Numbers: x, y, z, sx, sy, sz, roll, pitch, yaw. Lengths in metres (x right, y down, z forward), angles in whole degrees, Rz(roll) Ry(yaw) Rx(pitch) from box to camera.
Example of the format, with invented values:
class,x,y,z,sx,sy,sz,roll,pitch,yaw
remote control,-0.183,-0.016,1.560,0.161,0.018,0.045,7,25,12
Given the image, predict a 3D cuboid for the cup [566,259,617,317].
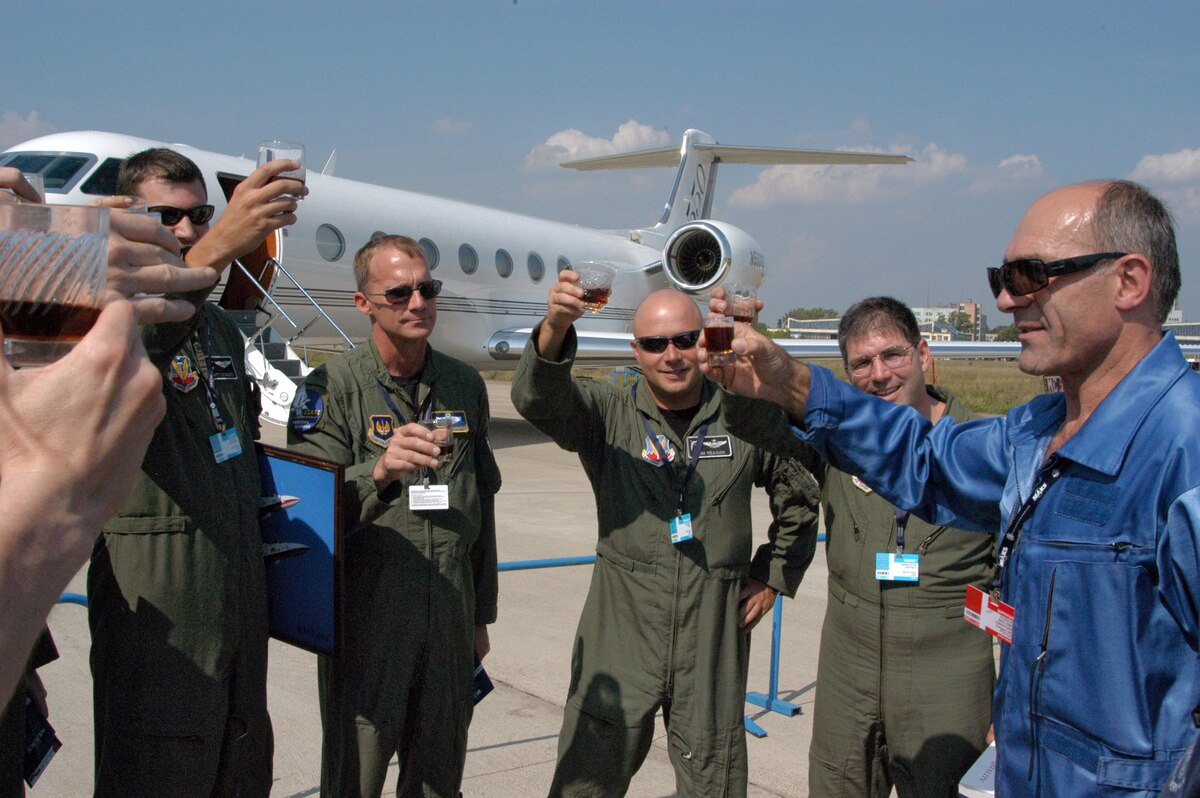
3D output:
class,x,y,z,sx,sy,sz,roll,pitch,yaw
cup,-0.024,-0.483,4.443,0.195,0.190,0.215,0,-9,4
